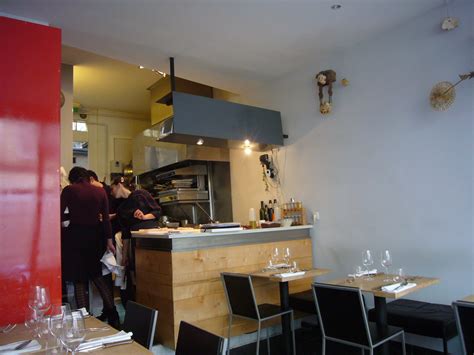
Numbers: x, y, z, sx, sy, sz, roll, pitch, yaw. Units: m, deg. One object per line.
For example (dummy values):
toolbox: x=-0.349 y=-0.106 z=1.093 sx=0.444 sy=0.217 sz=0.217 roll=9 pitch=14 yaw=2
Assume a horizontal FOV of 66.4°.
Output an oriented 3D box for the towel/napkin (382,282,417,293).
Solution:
towel/napkin: x=1.366 y=0.922 z=3.050 sx=0.210 sy=0.027 sz=0.112 roll=0 pitch=-4 yaw=-35

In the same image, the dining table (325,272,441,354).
dining table: x=1.292 y=1.029 z=3.318 sx=0.734 sy=0.766 sz=0.733 roll=1 pitch=-2 yaw=-43

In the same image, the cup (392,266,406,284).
cup: x=1.506 y=0.893 z=3.343 sx=0.108 sy=0.145 sz=0.144 roll=-1 pitch=-2 yaw=21

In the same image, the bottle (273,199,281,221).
bottle: x=0.551 y=0.441 z=5.012 sx=0.103 sy=0.276 sz=0.417 roll=-3 pitch=-4 yaw=6

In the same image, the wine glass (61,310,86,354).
wine glass: x=-0.888 y=0.841 z=1.939 sx=0.111 sy=0.246 sz=0.184 roll=-1 pitch=-4 yaw=-29

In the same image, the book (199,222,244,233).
book: x=-0.187 y=0.561 z=4.089 sx=0.470 sy=0.099 sz=0.228 roll=-2 pitch=-4 yaw=-25

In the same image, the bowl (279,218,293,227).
bowl: x=0.606 y=0.558 z=4.536 sx=0.103 sy=0.067 sz=0.105 roll=-2 pitch=-2 yaw=0

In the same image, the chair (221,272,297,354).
chair: x=0.184 y=1.349 z=3.652 sx=0.569 sy=0.842 sz=0.492 roll=-6 pitch=-4 yaw=41

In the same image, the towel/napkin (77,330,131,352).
towel/napkin: x=-0.779 y=0.959 z=2.127 sx=0.173 sy=0.037 sz=0.106 roll=-4 pitch=-2 yaw=-38

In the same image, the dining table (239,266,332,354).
dining table: x=0.484 y=1.291 z=3.824 sx=0.864 sy=0.930 sz=0.736 roll=3 pitch=-5 yaw=-44

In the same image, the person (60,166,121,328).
person: x=-1.783 y=0.674 z=4.307 sx=0.586 sy=1.607 sz=0.289 roll=-1 pitch=-4 yaw=-31

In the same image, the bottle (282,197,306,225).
bottle: x=0.753 y=0.452 z=4.788 sx=0.093 sy=0.284 sz=0.295 roll=7 pitch=-11 yaw=-37
